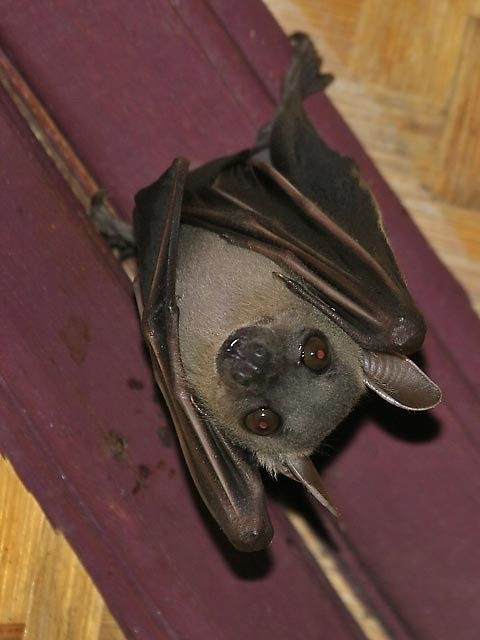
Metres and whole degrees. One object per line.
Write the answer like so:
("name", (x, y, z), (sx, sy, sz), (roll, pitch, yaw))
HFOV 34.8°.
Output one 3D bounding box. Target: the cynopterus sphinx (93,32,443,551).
("cynopterus sphinx", (0.063, -0.077, 1.879), (0.713, 1.054, 0.710), (-22, 24, 13))
